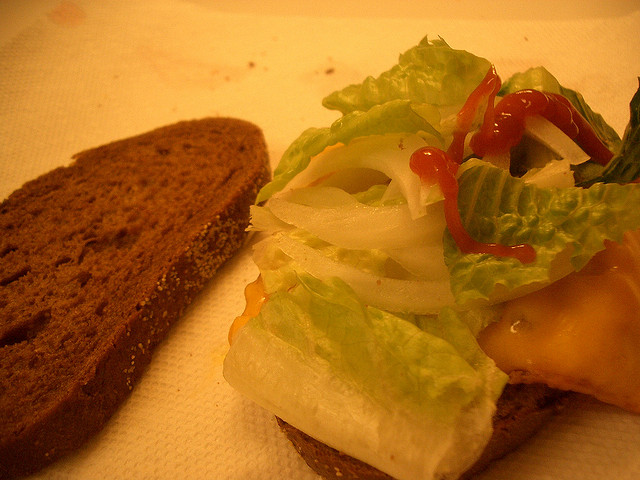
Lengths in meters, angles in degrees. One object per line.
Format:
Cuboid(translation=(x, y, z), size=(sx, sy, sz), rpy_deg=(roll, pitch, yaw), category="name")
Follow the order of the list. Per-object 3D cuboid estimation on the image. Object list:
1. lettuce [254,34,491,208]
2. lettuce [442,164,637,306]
Cuboid(translation=(0.177, -0.415, 1.581), size=(0.428, 0.236, 0.705), rpy_deg=(17, 58, 40), category="lettuce")
Cuboid(translation=(0.553, -0.024, 1.428), size=(0.439, 0.335, 0.112), rpy_deg=(-12, -13, 24), category="lettuce")
